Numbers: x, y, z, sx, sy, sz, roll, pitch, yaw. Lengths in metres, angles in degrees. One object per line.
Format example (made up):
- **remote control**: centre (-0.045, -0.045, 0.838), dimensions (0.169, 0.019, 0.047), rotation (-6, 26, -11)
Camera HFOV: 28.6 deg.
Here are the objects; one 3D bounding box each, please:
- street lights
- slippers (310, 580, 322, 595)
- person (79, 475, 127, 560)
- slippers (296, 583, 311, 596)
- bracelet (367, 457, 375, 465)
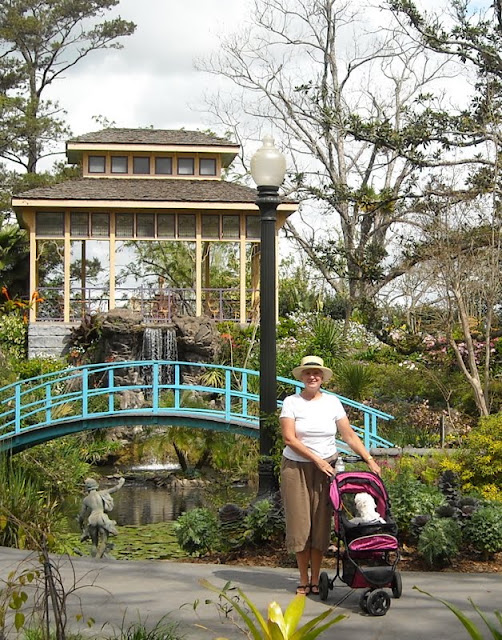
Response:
- **street lights**: centre (0.172, -0.036, 8.541), dimensions (0.305, 3.141, 0.620), rotation (-1, -7, 1)
- **slippers**: centre (0.440, 1.786, 6.565), dimensions (0.084, 0.067, 0.246), rotation (-1, -11, -3)
- **person**: centre (-1.428, 1.872, 9.342), dimensions (0.413, 0.751, 1.221), rotation (0, -7, -8)
- **slippers**: centre (0.345, 1.819, 6.682), dimensions (0.085, 0.070, 0.268), rotation (0, -8, -8)
- **bracelet**: centre (0.811, 0.947, 6.614), dimensions (0.041, 0.042, 0.012), rotation (1, -17, 22)
